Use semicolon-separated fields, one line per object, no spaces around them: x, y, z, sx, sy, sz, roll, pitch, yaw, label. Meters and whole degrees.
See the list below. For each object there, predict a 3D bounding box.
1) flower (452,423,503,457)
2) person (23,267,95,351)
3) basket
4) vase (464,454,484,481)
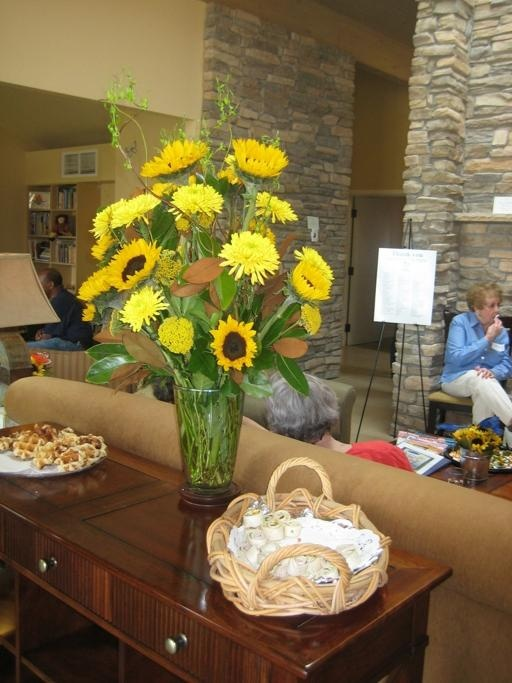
0.820;0.360;1.993;0.117;0.050;0.116;-8;14;-38;flower
-1.941;-0.328;5.454;0.735;0.769;0.650;-7;18;-12;person
0.054;0.266;0.725;0.201;0.072;0.214;3;7;6;basket
0.777;0.451;1.942;0.069;0.104;0.042;0;7;21;vase
